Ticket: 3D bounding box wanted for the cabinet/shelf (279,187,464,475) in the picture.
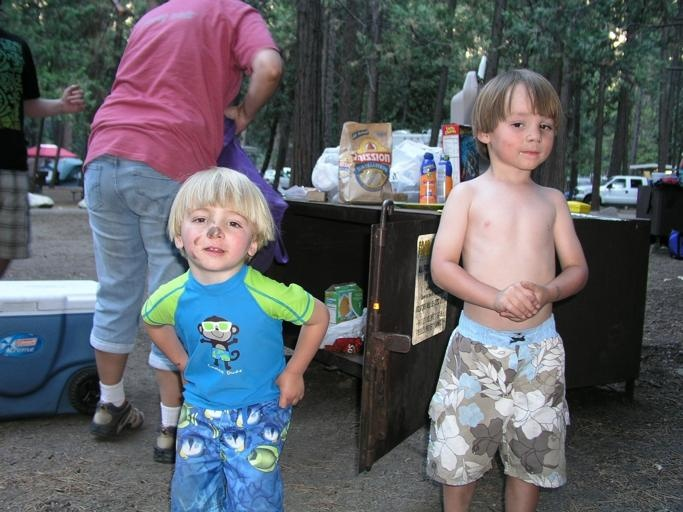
[{"bbox_3d":[-0.014,0.196,3.429,1.274,1.031,1.176,13,17,37],"label":"cabinet/shelf"}]
